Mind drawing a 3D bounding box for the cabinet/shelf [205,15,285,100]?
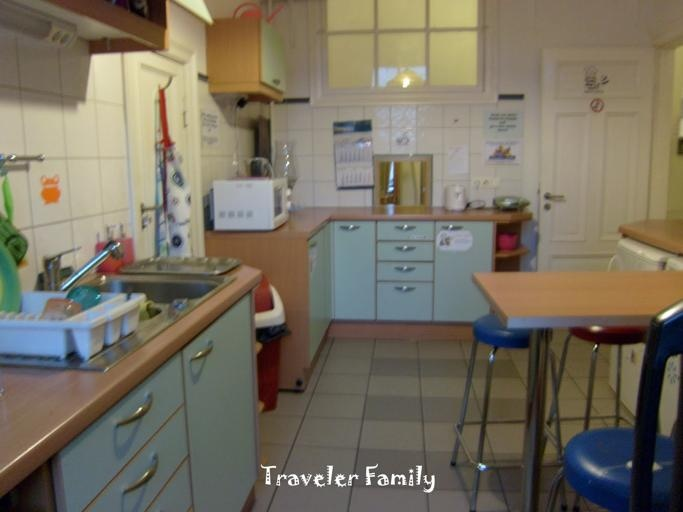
[{"bbox_3d":[-0.641,-1.337,3.589,0.343,0.491,0.601,1,13,10],"label":"cabinet/shelf"}]

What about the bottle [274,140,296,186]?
[{"bbox_3d":[-0.432,-0.704,4.107,0.164,0.361,0.314,-3,13,-8],"label":"bottle"}]

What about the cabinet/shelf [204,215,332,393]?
[{"bbox_3d":[-0.341,0.111,3.723,0.788,1.319,1.537,0,18,1],"label":"cabinet/shelf"}]

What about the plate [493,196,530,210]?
[{"bbox_3d":[1.358,-0.423,4.232,0.254,0.105,0.233,2,14,14],"label":"plate"}]

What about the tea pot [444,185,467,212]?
[{"bbox_3d":[0.912,-0.463,4.227,0.160,0.193,0.210,2,14,14],"label":"tea pot"}]

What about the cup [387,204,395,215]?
[{"bbox_3d":[0.400,-0.370,4.254,0.072,0.073,0.139,6,1,5],"label":"cup"}]

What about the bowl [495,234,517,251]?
[{"bbox_3d":[1.310,-0.105,4.147,0.136,0.139,0.147,-1,13,0],"label":"bowl"}]

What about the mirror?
[{"bbox_3d":[0.538,-0.659,4.514,0.429,0.442,0.039,1,5,4],"label":"mirror"}]
